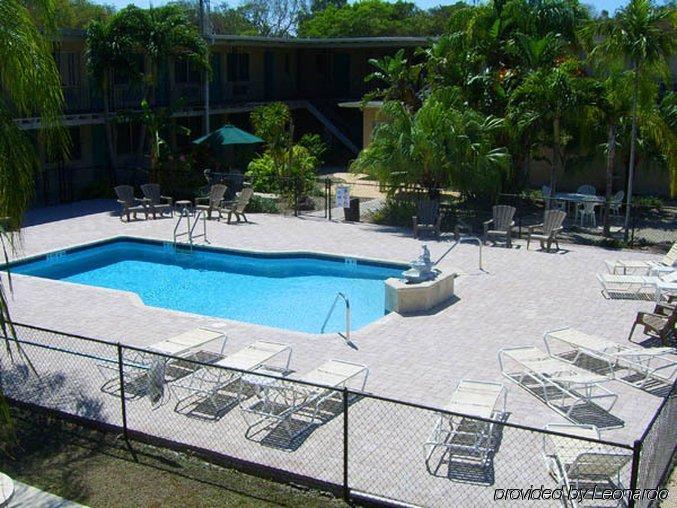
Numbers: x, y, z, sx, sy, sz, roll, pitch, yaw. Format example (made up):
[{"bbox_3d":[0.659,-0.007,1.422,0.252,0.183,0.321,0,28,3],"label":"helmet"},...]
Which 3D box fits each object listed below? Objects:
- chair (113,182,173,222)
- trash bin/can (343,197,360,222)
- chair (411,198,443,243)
[{"bbox_3d":[-6.758,-1.815,20.823,1.814,1.147,1.213,-4,13,-28],"label":"chair"},{"bbox_3d":[0.439,-1.522,20.300,0.512,0.926,0.530,10,18,29],"label":"trash bin/can"},{"bbox_3d":[2.742,-1.116,18.510,0.792,1.180,1.209,2,22,7],"label":"chair"}]
